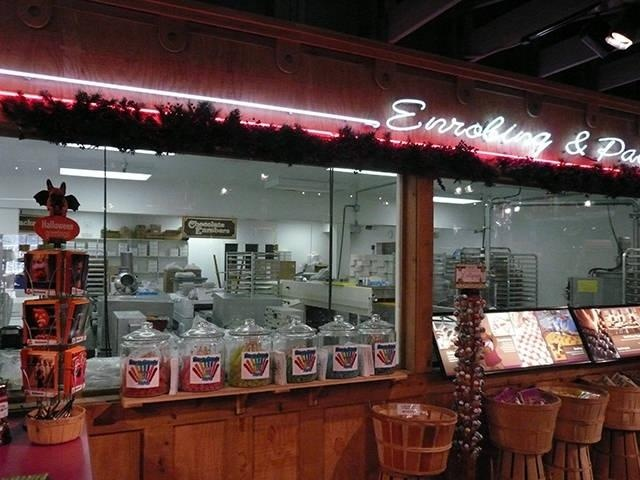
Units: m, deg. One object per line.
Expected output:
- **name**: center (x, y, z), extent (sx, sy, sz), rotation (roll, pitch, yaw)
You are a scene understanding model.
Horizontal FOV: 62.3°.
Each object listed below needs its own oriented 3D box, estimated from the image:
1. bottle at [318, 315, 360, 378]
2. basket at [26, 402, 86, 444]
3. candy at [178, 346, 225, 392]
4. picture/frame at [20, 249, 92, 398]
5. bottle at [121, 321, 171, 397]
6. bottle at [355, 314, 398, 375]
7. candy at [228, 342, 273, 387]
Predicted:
- **bottle**: center (0.144, 0.822, 4.136), extent (0.330, 0.468, 0.335), rotation (0, -5, 0)
- **basket**: center (-1.509, 1.049, 3.047), extent (0.307, 0.126, 0.244), rotation (4, 3, -45)
- **candy**: center (-0.822, 0.890, 3.734), extent (0.288, 0.287, 0.285), rotation (1, -3, -8)
- **picture/frame**: center (-1.514, 0.489, 3.048), extent (0.355, 0.863, 0.171), rotation (1, -3, -28)
- **bottle**: center (-1.149, 0.815, 3.514), extent (0.383, 0.549, 0.385), rotation (0, -9, 0)
- **bottle**: center (0.479, 0.828, 4.204), extent (0.363, 0.400, 0.357), rotation (2, -4, -44)
- **candy**: center (-0.477, 0.859, 3.769), extent (0.295, 0.279, 0.301), rotation (-2, -6, 22)
